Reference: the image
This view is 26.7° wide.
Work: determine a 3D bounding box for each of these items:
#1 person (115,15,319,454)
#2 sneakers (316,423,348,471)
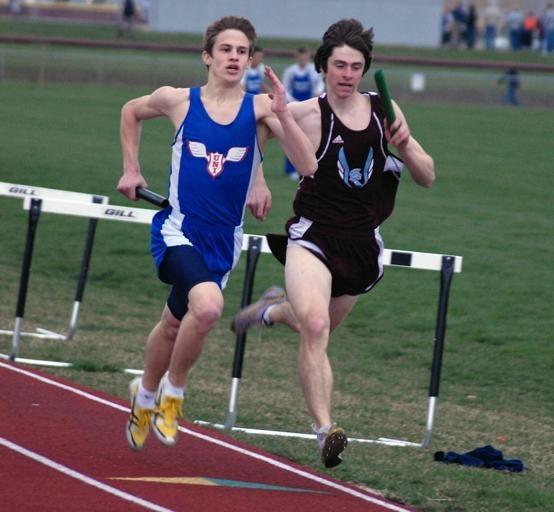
[{"bbox_3d":[-0.364,-0.093,5.799,0.728,2.176,0.849,-2,12,-34],"label":"person"},{"bbox_3d":[0.257,0.895,5.463,0.100,0.236,0.112,-17,48,-13],"label":"sneakers"}]
